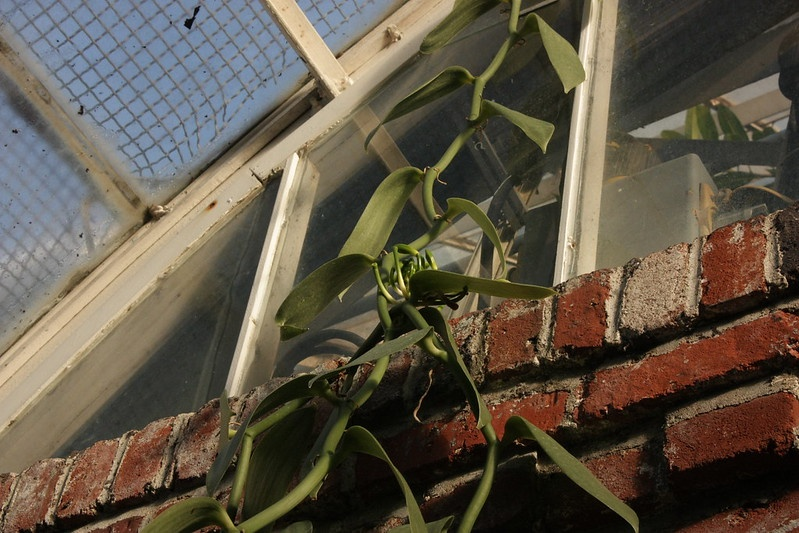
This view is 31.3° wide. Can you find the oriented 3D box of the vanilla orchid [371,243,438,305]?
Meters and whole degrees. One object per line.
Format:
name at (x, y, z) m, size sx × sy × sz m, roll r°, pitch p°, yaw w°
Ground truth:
vanilla orchid at (0.007, 0.029, 3.149) m, size 0.132 × 0.131 × 0.110 m, roll -8°, pitch -8°, yaw 0°
